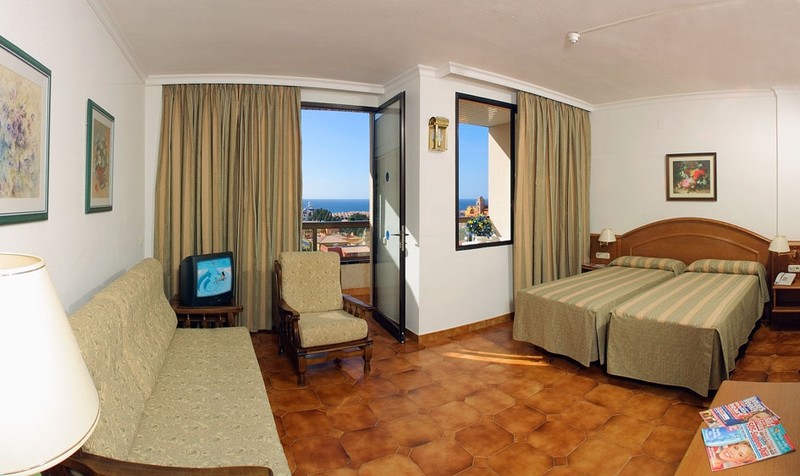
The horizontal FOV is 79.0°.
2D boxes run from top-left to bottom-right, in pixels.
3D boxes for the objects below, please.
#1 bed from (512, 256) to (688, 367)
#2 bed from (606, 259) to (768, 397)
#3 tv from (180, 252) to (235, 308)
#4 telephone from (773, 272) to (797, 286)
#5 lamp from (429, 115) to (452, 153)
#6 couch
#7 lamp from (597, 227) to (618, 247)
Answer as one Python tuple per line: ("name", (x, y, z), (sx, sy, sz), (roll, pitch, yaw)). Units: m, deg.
("bed", (2.718, 0.834, 6.220), (2.253, 0.725, 1.163), (-8, 8, -35))
("bed", (3.805, 0.867, 6.165), (3.015, 0.799, 1.298), (-16, 15, -43))
("tv", (-2.283, 0.509, 5.715), (0.355, 0.596, 0.626), (4, 4, 44))
("telephone", (5.096, 0.544, 6.451), (0.337, 0.130, 0.177), (-7, 8, -42))
("lamp", (0.512, -1.346, 6.273), (0.306, 0.440, 0.158), (-5, 7, -27))
("couch", (-1.966, 1.109, 4.270), (0.902, 0.852, 1.841), (-1, 8, -14))
("lamp", (3.253, -0.019, 7.664), (0.256, 0.248, 0.256), (0, 2, 24))
